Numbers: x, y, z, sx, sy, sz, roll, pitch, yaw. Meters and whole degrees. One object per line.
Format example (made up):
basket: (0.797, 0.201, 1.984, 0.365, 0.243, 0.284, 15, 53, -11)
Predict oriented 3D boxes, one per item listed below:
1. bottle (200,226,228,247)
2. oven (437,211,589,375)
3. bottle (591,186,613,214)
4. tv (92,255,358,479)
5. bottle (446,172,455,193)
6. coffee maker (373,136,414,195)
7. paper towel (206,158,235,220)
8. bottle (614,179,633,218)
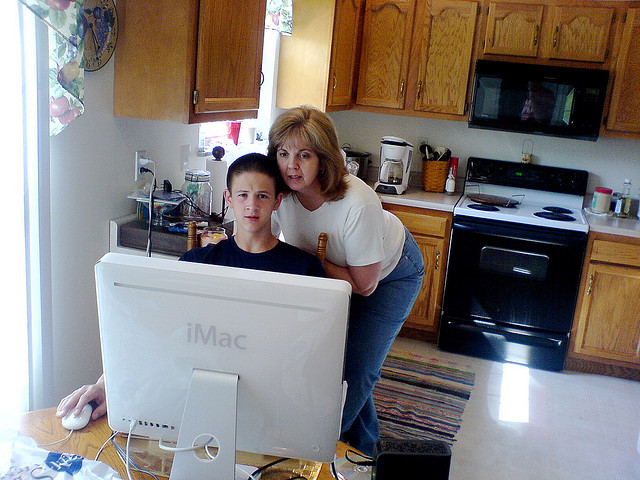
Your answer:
bottle: (-0.496, -0.024, 2.587, 0.125, 0.121, 0.125, 5, 10, 22)
oven: (1.470, 0.281, 4.001, 0.875, 1.098, 0.757, 10, 22, 29)
bottle: (2.019, -0.284, 3.839, 0.112, 0.182, 0.119, 3, 11, -1)
tv: (-0.253, 0.339, 1.334, 0.530, 0.517, 0.272, 7, 32, 3)
bottle: (1.009, -0.446, 4.139, 0.059, 0.151, 0.092, 8, 12, 22)
coffee maker: (0.561, -0.564, 4.017, 0.250, 0.395, 0.252, 7, 16, 10)
paper towel: (-0.605, -0.312, 3.122, 0.121, 0.305, 0.145, 1, 11, -12)
bottle: (2.173, -0.299, 3.808, 0.101, 0.268, 0.242, 10, 12, 30)
